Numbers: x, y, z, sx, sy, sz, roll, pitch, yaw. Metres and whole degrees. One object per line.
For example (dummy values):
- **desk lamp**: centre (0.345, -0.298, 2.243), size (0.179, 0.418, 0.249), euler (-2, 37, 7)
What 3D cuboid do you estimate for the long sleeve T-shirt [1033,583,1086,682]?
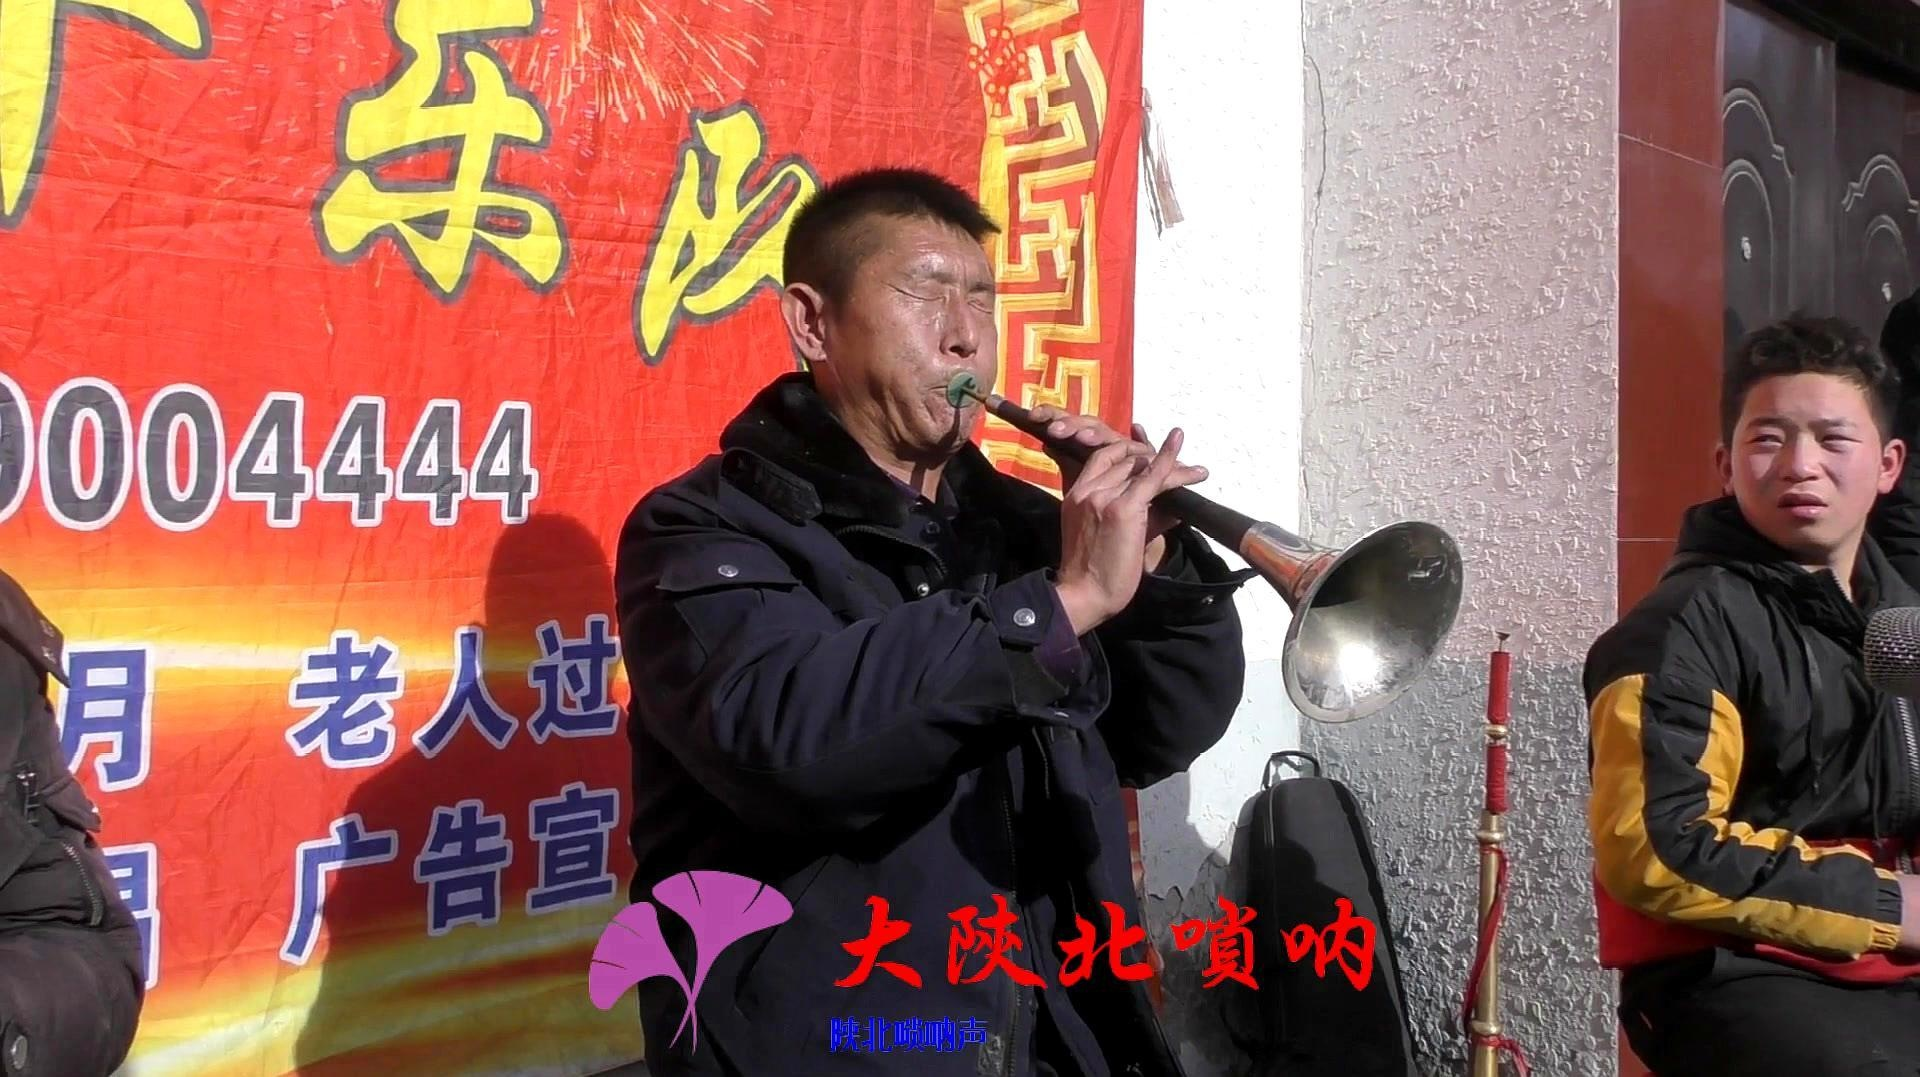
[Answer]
- **long sleeve T-shirt**: centre (0.212, 0.209, 3.389), size (0.086, 0.226, 0.180), euler (-7, -6, 39)
